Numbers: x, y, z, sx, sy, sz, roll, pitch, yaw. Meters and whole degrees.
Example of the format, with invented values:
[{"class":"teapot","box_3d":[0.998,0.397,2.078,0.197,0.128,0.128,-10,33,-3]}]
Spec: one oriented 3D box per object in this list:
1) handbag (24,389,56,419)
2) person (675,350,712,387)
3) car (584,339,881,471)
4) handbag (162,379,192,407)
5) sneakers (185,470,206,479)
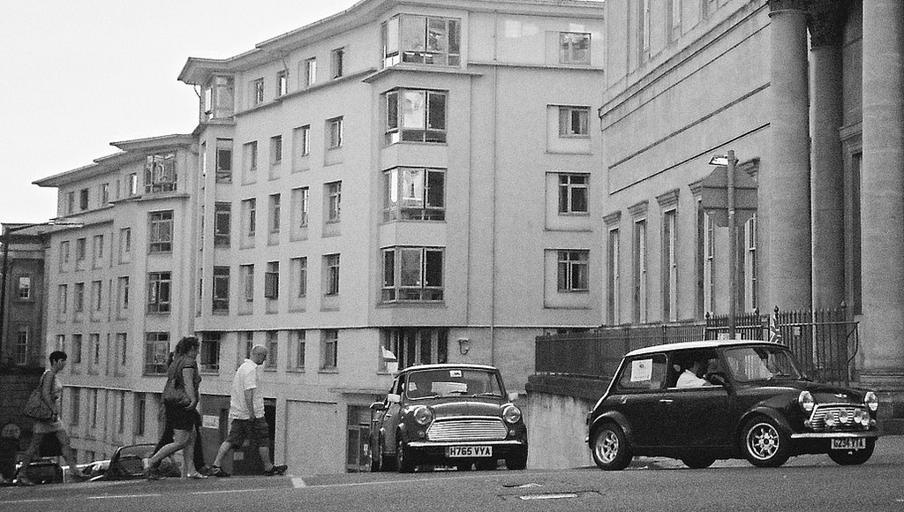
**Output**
[{"class":"handbag","box_3d":[-11.022,3.958,33.849,0.789,0.858,0.356,0,-13,-10]},{"class":"person","box_3d":[6.003,2.852,31.213,0.793,0.865,1.248,2,-2,-9]},{"class":"car","box_3d":[7.049,3.760,31.143,5.765,2.299,3.531,-10,-12,39]},{"class":"handbag","box_3d":[-7.074,3.588,32.592,0.909,0.960,0.560,1,-24,-8]},{"class":"sneakers","box_3d":[-6.689,5.735,33.202,0.572,0.218,0.201,2,-3,-16]}]
